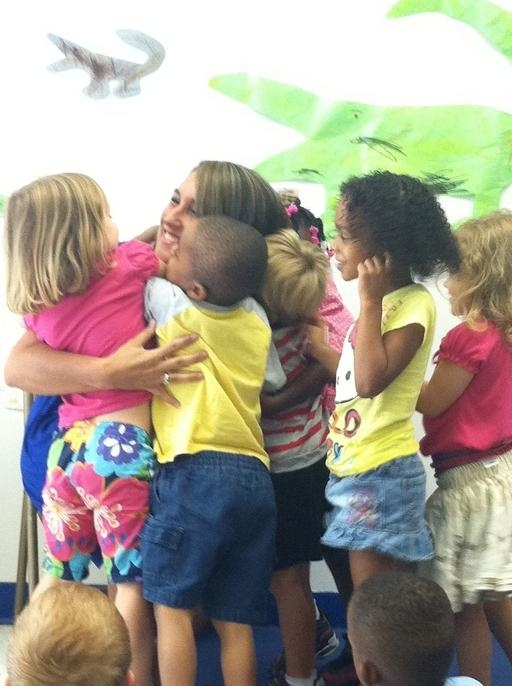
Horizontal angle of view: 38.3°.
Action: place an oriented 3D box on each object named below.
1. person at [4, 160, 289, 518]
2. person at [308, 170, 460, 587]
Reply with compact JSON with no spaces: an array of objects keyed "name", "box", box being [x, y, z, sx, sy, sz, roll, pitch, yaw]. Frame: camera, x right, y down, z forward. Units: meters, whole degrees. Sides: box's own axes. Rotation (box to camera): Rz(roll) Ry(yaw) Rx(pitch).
[{"name":"person","box":[-0.278,0.023,1.733,0.367,0.823,0.500,7,41,-16]},{"name":"person","box":[0.284,0.112,1.621,0.328,0.926,0.498,-1,23,3]}]
